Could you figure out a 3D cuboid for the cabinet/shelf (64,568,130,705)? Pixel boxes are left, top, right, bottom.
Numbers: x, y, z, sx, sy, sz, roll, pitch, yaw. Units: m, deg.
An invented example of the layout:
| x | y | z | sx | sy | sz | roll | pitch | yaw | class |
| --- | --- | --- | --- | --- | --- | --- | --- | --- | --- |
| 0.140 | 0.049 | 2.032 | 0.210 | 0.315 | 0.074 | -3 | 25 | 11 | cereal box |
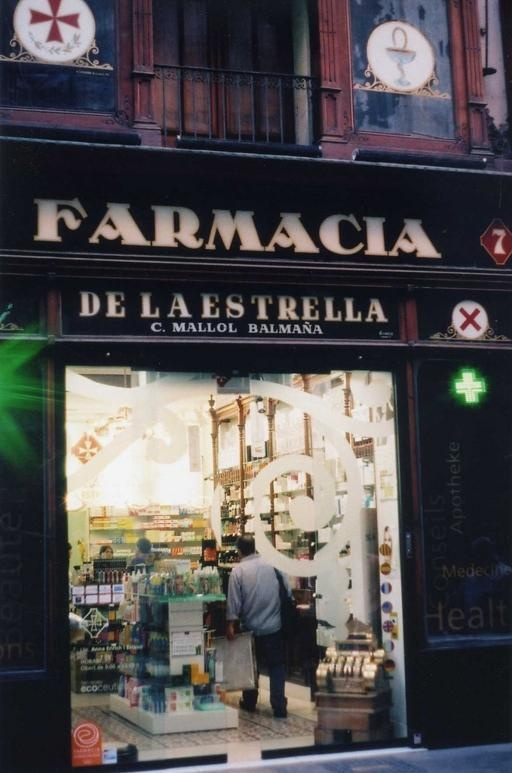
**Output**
| x | y | z | sx | sy | sz | roll | pitch | yaw | class |
| --- | --- | --- | --- | --- | --- | --- | --- | --- | --- |
| -1.245 | 1.880 | 10.511 | 0.143 | 1.042 | 0.555 | -10 | -13 | 39 | cabinet/shelf |
